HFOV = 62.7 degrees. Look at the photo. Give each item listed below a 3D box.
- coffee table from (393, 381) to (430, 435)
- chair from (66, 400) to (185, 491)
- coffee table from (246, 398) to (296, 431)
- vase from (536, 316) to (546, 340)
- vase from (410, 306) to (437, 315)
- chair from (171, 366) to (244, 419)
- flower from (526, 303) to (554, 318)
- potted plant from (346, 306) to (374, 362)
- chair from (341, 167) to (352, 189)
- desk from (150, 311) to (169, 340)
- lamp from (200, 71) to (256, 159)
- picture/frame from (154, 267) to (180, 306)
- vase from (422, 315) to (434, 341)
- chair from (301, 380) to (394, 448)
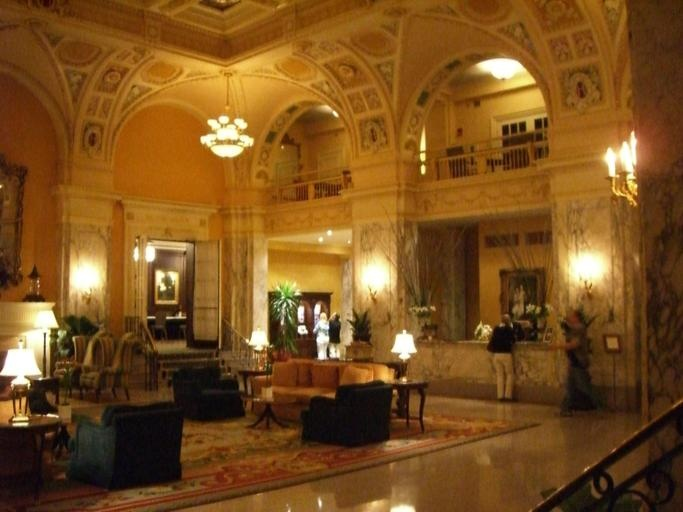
[{"bbox_3d":[1.201,2.484,9.234,0.702,0.808,0.731,0,-11,-11],"label":"coffee table"},{"bbox_3d":[-2.409,1.995,6.375,0.926,0.925,0.940,5,-7,-39],"label":"chair"},{"bbox_3d":[-1.181,2.612,9.116,0.565,0.363,0.603,1,-5,18],"label":"coffee table"},{"bbox_3d":[4.180,1.532,11.731,0.188,0.477,0.258,-4,-6,18],"label":"vase"},{"bbox_3d":[1.864,1.282,13.043,0.542,0.238,0.389,-7,-8,25],"label":"vase"},{"bbox_3d":[-2.444,2.653,10.167,1.082,1.021,1.110,5,-10,-37],"label":"chair"},{"bbox_3d":[4.188,1.183,11.860,0.451,0.280,0.446,-7,-9,28],"label":"flower"},{"bbox_3d":[0.425,1.923,13.579,0.643,1.236,0.496,-2,-6,-1],"label":"potted plant"},{"bbox_3d":[0.148,-2.065,15.350,0.252,0.658,0.608,-2,-7,0],"label":"chair"},{"bbox_3d":[-6.354,2.474,19.589,0.546,0.953,1.320,0,-8,-19],"label":"desk"},{"bbox_3d":[-2.367,-3.003,11.625,0.851,1.838,0.864,-2,-6,43],"label":"lamp"},{"bbox_3d":[-6.548,1.179,20.889,0.116,1.684,1.208,-9,-11,39],"label":"picture/frame"},{"bbox_3d":[2.046,1.702,13.080,0.286,0.556,0.352,0,-7,-19],"label":"vase"},{"bbox_3d":[0.102,2.307,8.207,0.905,0.861,0.931,-2,-5,37],"label":"chair"}]
